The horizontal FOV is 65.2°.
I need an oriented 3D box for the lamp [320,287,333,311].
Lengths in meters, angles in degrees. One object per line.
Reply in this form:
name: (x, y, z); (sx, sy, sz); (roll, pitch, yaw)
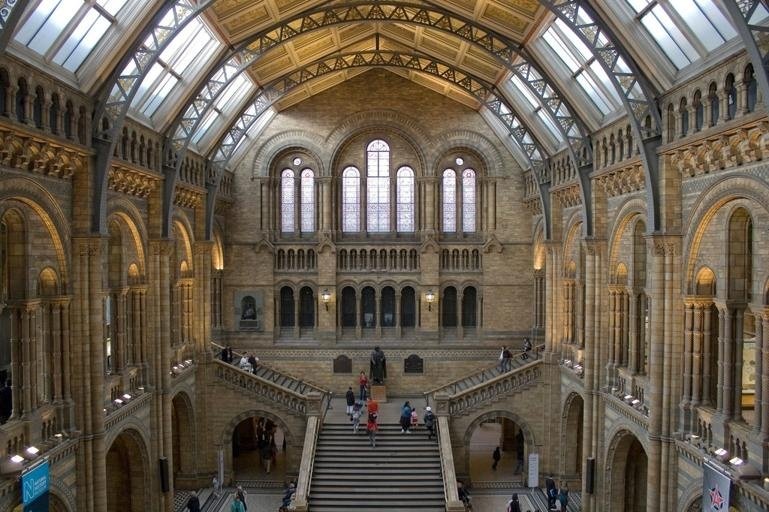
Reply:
lamp: (-3.652, 2.689, 37.594); (0.795, 1.396, 0.399); (2, -7, -10)

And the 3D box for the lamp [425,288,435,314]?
lamp: (2.814, 2.720, 37.675); (0.661, 1.345, 0.438); (0, -7, 3)
